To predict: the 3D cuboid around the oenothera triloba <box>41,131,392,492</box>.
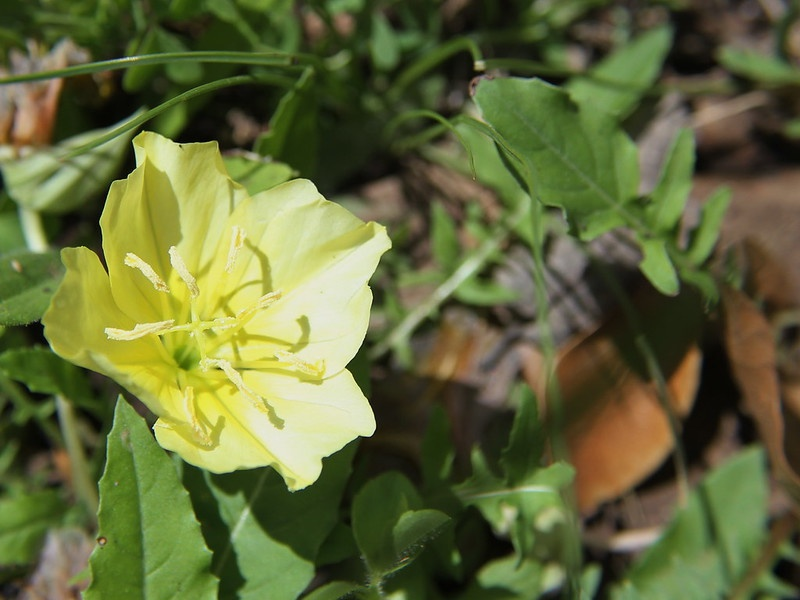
[{"bbox_3d":[-0.358,0.014,1.709,0.616,0.625,0.452,3,30,13],"label":"oenothera triloba"}]
